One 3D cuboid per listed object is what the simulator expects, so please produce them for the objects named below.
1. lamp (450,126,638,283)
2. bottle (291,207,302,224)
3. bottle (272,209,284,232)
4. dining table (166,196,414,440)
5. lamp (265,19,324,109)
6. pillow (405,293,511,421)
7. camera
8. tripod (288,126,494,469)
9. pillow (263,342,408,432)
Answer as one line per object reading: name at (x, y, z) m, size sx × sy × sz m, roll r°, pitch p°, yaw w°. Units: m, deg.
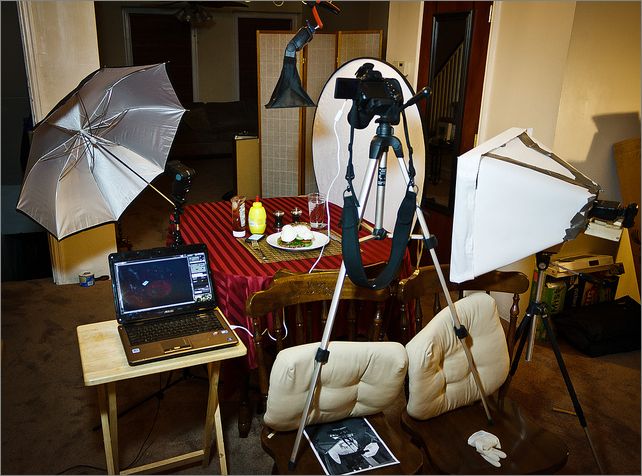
lamp at (0.945, -0.140, 2.195) m, size 0.580 × 0.594 × 0.670 m, roll 12°, pitch 22°, yaw 22°
bottle at (-0.155, -0.142, 3.167) m, size 0.073 × 0.099 × 0.083 m, roll 3°, pitch 21°, yaw 8°
bottle at (-0.267, -0.104, 3.139) m, size 0.093 × 0.125 × 0.099 m, roll 1°, pitch 7°, yaw 0°
dining table at (-0.270, 0.246, 3.096) m, size 1.185 × 0.886 × 1.411 m, roll -9°, pitch 32°, yaw -15°
lamp at (-0.135, -0.939, 2.609) m, size 0.316 × 0.552 × 0.372 m, roll -3°, pitch 32°, yaw -6°
pillow at (0.627, 0.539, 2.266) m, size 0.480 × 0.546 × 0.146 m, roll -30°, pitch 29°, yaw -33°
camera at (0.221, -0.545, 1.952) m, size 0.297 × 0.244 × 0.167 m, roll -2°, pitch -12°, yaw -14°
tripod at (0.285, 0.171, 2.089) m, size 0.936 × 1.344 × 0.452 m, roll -4°, pitch 20°, yaw -16°
pillow at (0.065, 0.624, 2.060) m, size 0.335 × 0.248 × 0.112 m, roll -9°, pitch 20°, yaw -17°
